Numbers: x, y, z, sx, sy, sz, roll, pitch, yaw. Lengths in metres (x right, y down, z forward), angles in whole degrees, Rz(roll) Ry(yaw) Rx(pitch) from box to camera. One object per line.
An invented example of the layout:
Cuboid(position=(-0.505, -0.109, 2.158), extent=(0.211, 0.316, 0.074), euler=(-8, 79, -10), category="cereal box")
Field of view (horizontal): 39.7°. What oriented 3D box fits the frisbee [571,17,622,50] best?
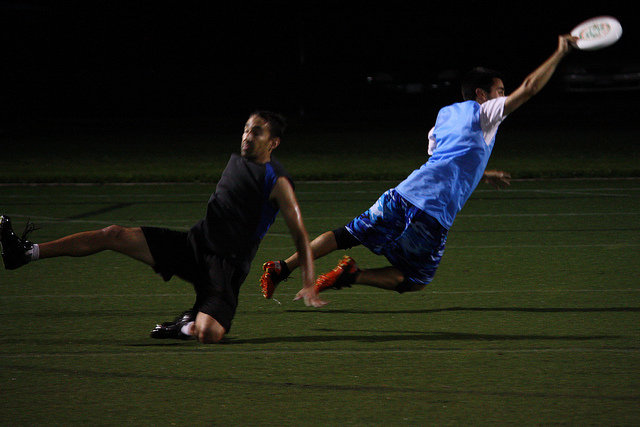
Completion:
Cuboid(position=(2.400, -1.576, 7.670), extent=(0.466, 0.300, 0.234), euler=(4, 6, -5), category="frisbee")
